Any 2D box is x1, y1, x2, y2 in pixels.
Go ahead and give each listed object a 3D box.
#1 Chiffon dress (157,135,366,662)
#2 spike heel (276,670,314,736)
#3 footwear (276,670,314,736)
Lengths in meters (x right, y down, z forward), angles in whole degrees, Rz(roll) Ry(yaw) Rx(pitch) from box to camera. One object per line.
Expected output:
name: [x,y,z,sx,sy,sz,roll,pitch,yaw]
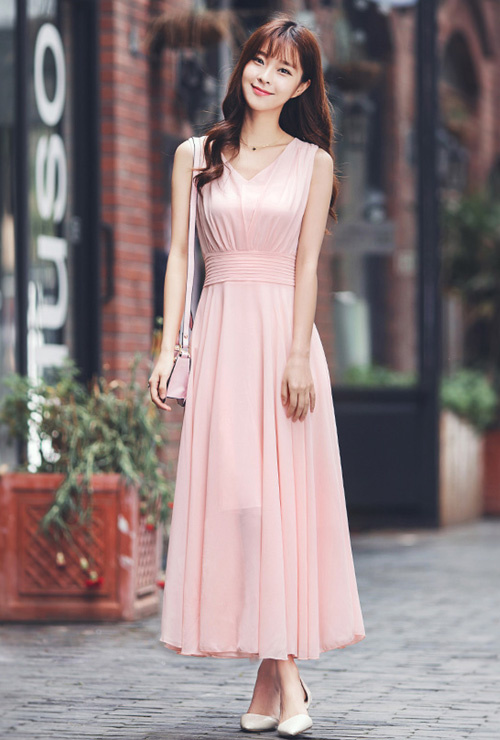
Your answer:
Chiffon dress: [0.012,0.079,3.454,0.543,1.404,0.285,-2,-1,4]
spike heel: [0.128,0.924,3.452,0.060,0.084,0.187,-3,4,14]
footwear: [0.128,0.922,3.455,0.060,0.084,0.187,-3,4,14]
